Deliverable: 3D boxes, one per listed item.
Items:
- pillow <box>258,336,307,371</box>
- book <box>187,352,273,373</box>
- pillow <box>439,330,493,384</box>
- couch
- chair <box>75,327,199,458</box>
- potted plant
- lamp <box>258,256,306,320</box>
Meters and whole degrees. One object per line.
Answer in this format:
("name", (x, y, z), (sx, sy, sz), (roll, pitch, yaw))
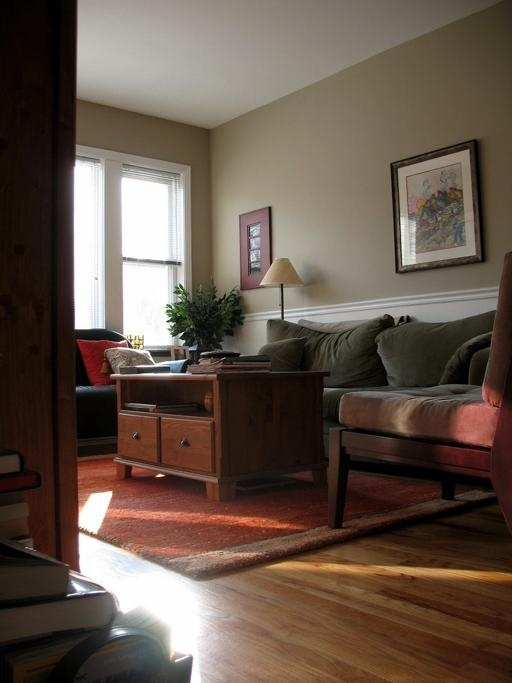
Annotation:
("pillow", (0.192, 0.085, 3.634), (0.214, 0.146, 0.078), (-7, -14, 35))
("book", (-0.143, 0.098, 2.478), (0.288, 0.081, 0.340), (-7, 8, -33))
("pillow", (1.000, 0.087, 2.607), (0.083, 0.248, 0.245), (9, -4, -12))
("couch", (0.665, 0.295, 3.417), (0.757, 0.893, 2.250), (-5, 1, -30))
("chair", (-0.964, 0.348, 4.317), (0.923, 1.160, 0.943), (2, -5, -35))
("potted plant", (-0.503, -0.142, 5.343), (0.555, 0.686, 0.639), (7, -8, -23))
("lamp", (0.217, -0.360, 4.704), (0.375, 0.691, 0.370), (1, -1, -44))
